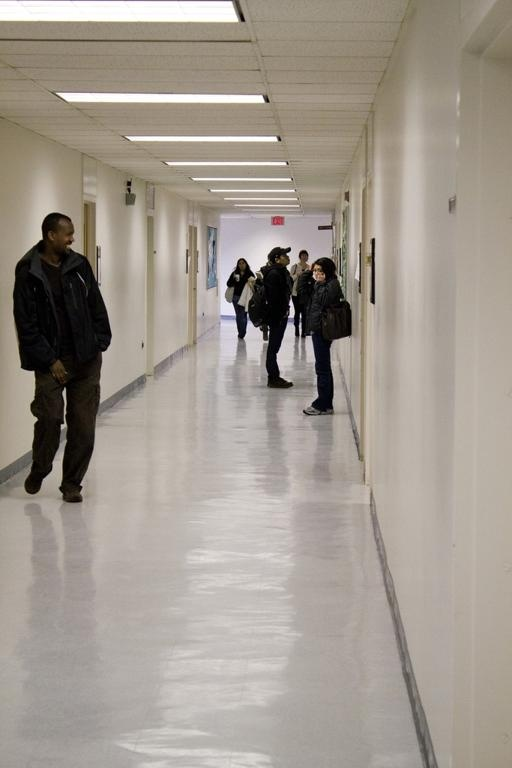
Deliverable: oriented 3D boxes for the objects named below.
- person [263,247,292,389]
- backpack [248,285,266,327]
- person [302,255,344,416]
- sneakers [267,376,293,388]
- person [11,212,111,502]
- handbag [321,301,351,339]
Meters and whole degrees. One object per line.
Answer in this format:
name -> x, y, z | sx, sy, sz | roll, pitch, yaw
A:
person -> 0.360, -1.096, 9.461 | 0.510, 2.319, 0.873 | 0, 2, 3
backpack -> 0.028, -1.293, 9.392 | 0.284, 0.670, 0.405 | 0, 2, -1
person -> 0.848, -0.575, 7.381 | 0.467, 2.000, 0.931 | 0, 2, 4
sneakers -> 0.393, -0.029, 9.508 | 0.373, 0.223, 0.178 | 0, 6, 10
person -> -1.441, -0.163, 4.355 | 0.681, 2.143, 0.507 | -1, 2, -27
handbag -> 0.973, -0.794, 7.064 | 0.328, 0.412, 0.135 | -9, 9, -34
